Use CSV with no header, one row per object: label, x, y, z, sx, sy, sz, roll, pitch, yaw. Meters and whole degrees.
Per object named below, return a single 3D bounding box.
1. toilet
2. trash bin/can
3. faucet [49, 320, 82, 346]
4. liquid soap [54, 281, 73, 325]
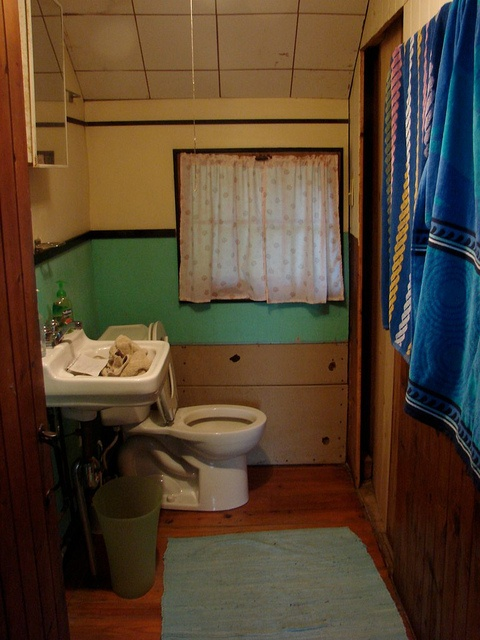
toilet,-0.254,0.513,3.144,0.867,1.622,0.632,-1,15,-2
trash bin/can,-0.437,0.876,2.132,0.200,0.450,0.250,1,-8,-10
faucet,-0.695,0.029,2.038,0.045,0.102,0.201,1,14,-5
liquid soap,-0.755,-0.051,2.188,0.057,0.238,0.067,-13,-11,20
